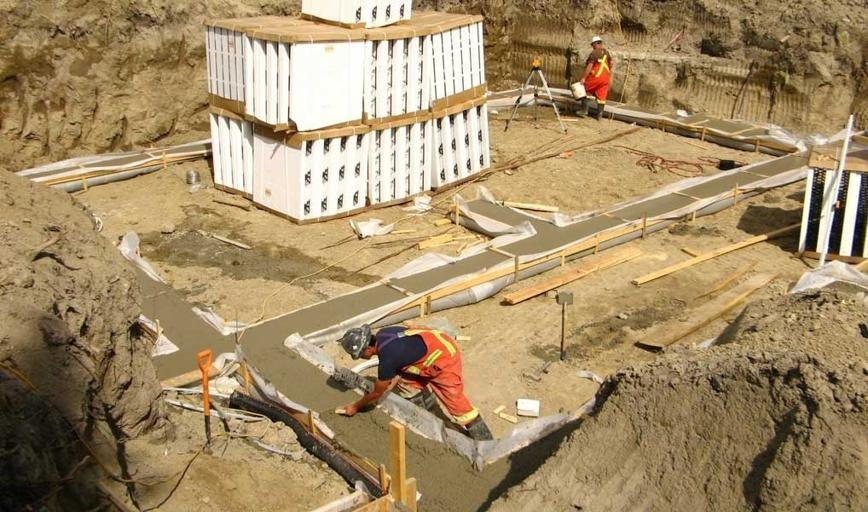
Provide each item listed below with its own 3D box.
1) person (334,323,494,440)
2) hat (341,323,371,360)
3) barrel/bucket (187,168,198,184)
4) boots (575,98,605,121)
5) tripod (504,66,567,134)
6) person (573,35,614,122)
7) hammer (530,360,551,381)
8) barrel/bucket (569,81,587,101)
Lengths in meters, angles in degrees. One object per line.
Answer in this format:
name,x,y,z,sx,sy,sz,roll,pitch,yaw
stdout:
person,-0.252,1.530,8.981,2.395,1.486,1.072,12,45,2
hat,-0.950,1.144,8.840,0.346,0.511,0.331,-8,26,-16
barrel/bucket,-4.953,-1.602,14.579,0.255,0.290,0.320,-9,26,-18
boots,4.123,-3.886,18.761,0.834,0.742,0.444,-3,22,-3
tripod,2.796,-4.151,19.152,1.725,1.837,1.620,16,40,17
person,4.177,-4.687,18.644,0.786,1.984,1.249,8,27,16
hammer,1.547,1.671,10.303,0.211,0.106,0.502,18,29,34
barrel/bucket,3.782,-4.249,18.462,0.391,0.435,0.337,2,25,3
